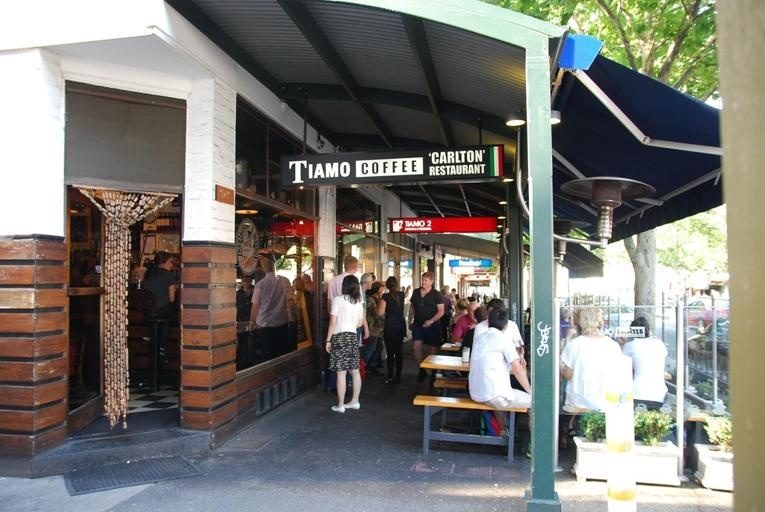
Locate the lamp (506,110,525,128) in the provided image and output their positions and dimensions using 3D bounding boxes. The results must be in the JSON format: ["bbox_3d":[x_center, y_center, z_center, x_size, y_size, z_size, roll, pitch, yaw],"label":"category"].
[{"bbox_3d":[1.913,-1.987,8.786,0.217,0.278,1.098,3,8,14],"label":"lamp"}]

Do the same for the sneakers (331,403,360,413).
[{"bbox_3d":[-0.578,2.343,9.560,0.425,0.177,0.149,3,-10,-10],"label":"sneakers"}]

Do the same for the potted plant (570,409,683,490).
[{"bbox_3d":[2.851,2.221,7.394,1.196,0.801,0.593,5,-2,-3],"label":"potted plant"}]

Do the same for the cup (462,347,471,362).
[{"bbox_3d":[1.181,1.403,8.785,0.144,0.221,0.143,1,-4,0],"label":"cup"}]

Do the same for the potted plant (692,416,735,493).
[{"bbox_3d":[3.795,2.219,7.080,0.393,0.781,0.673,6,9,27],"label":"potted plant"}]

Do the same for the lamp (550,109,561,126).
[{"bbox_3d":[2.124,-1.704,7.564,0.106,0.153,1.298,4,8,16],"label":"lamp"}]

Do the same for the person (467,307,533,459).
[{"bbox_3d":[1.485,1.284,7.757,0.763,1.218,0.389,3,8,7],"label":"person"}]

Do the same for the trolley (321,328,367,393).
[{"bbox_3d":[-0.701,1.684,11.390,0.999,1.268,1.389,-1,-4,-7],"label":"trolley"}]
